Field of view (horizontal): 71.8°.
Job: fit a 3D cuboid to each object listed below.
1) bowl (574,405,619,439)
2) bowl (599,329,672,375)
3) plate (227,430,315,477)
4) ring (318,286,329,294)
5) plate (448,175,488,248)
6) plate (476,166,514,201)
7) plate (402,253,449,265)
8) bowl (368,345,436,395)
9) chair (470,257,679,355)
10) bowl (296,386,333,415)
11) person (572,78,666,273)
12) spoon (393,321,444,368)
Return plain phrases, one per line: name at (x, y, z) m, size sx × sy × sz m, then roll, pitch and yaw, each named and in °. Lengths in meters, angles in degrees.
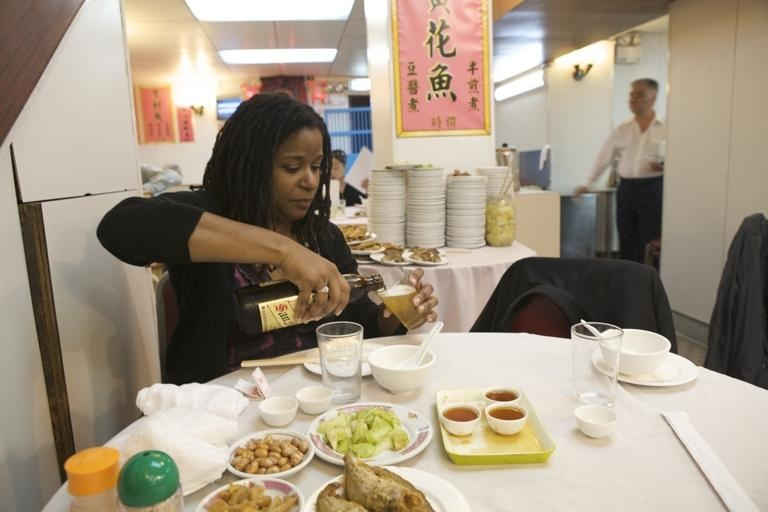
bowl at (0.606, 0.475, 1.523) m, size 0.094 × 0.051 × 0.093 m, roll -2°, pitch 1°, yaw 0°
bowl at (0.861, 0.292, 1.793) m, size 0.174 × 0.094 × 0.170 m, roll -2°, pitch 10°, yaw 0°
plate at (-0.319, 0.549, 1.456) m, size 0.219 × 0.076 × 0.174 m, roll 3°, pitch 10°, yaw 28°
ring at (-0.202, 0.114, 1.752) m, size 0.027 × 0.015 × 0.025 m, roll -5°, pitch 4°, yaw 0°
plate at (0.545, -0.290, 3.524) m, size 0.281 × 0.476 × 0.164 m, roll -2°, pitch 11°, yaw 2°
plate at (0.803, -0.487, 3.711) m, size 0.259 × 0.245 × 0.242 m, roll -5°, pitch 6°, yaw -37°
plate at (0.238, 0.020, 3.134) m, size 0.124 × 0.021 × 0.122 m, roll 11°, pitch 21°, yaw 18°
bowl at (0.040, 0.351, 1.764) m, size 0.171 × 0.088 × 0.167 m, roll -3°, pitch 9°, yaw 0°
chair at (0.835, 0.175, 2.520) m, size 0.988 × 0.526 × 0.394 m, roll 5°, pitch 25°, yaw 21°
bowl at (-0.224, 0.441, 1.664) m, size 0.088 × 0.046 × 0.087 m, roll -1°, pitch 8°, yaw 0°
person at (2.658, -0.888, 5.639) m, size 0.456 × 1.908 × 0.834 m, roll -2°, pitch 11°, yaw 1°
spoon at (0.130, 0.327, 1.848) m, size 0.078 × 0.042 × 0.279 m, roll 3°, pitch 38°, yaw 32°
